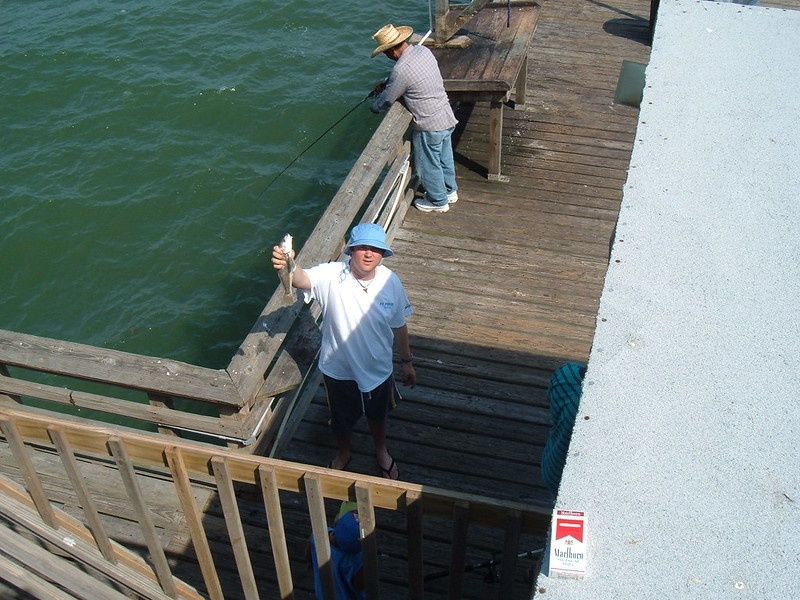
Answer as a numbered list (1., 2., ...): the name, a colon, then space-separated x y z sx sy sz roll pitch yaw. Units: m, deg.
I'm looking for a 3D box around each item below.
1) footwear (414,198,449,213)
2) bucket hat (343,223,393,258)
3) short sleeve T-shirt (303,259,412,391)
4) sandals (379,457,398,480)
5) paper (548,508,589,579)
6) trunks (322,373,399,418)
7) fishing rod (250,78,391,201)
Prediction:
1. footwear: 0.335 -0.992 8.671 0.351 0.161 0.144 6 57 3
2. bucket hat: -0.190 -0.408 5.364 0.221 0.140 0.268 6 9 12
3. short sleeve T-shirt: -0.314 0.168 5.647 0.965 0.959 0.533 0 42 -8
4. sandals: -0.076 1.240 6.107 0.135 0.264 0.093 0 7 -12
5. paper: 0.741 1.041 3.616 0.157 0.125 0.242 7 41 8
6. trunks: -0.258 0.664 5.746 0.495 0.462 0.287 2 65 6
7. fishing rod: -1.187 -2.243 11.720 0.095 0.412 4.107 -14 33 38
